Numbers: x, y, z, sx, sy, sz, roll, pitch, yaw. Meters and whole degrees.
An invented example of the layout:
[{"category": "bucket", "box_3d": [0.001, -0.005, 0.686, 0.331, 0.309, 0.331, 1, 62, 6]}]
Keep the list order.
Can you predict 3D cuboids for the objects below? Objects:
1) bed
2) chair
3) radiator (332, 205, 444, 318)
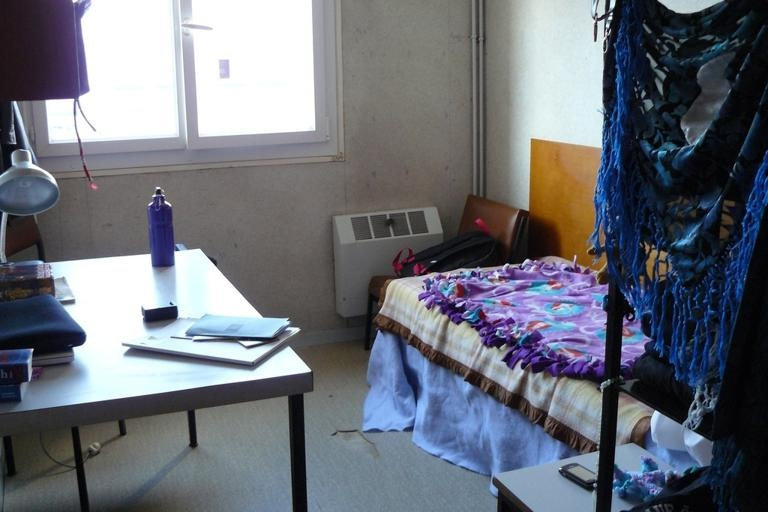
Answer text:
[{"category": "bed", "box_3d": [0.474, 0.504, 2.816, 0.866, 0.342, 1.121, -9, 16, -31]}, {"category": "chair", "box_3d": [0.407, 0.203, 4.050, 0.978, 1.102, 0.862, -11, 17, -28]}, {"category": "radiator", "box_3d": [0.000, 0.043, 3.979, 0.686, 0.637, 0.222, -6, 14, -14]}]
